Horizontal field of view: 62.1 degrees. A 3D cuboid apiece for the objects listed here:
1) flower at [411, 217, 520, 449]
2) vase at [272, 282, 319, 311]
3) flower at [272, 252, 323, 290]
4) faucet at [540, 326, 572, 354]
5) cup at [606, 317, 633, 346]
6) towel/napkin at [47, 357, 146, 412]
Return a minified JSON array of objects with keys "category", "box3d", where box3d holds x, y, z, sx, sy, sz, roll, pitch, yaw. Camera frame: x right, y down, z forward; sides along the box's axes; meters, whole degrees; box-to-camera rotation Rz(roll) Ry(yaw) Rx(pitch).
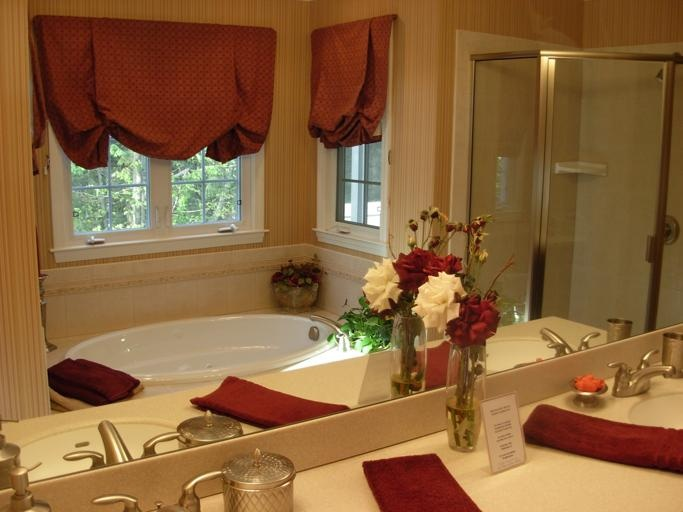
[{"category":"flower","box3d":[0.324,0.239,1.551,0.299,0.582,0.254,-8,-14,30]},{"category":"vase","box3d":[-0.101,0.082,1.252,0.070,0.041,0.063,6,6,40]},{"category":"flower","box3d":[-0.077,0.031,1.214,0.085,0.077,0.033,2,-2,-25]},{"category":"faucet","box3d":[0.754,0.302,1.999,0.041,0.073,0.135,-15,-27,38]},{"category":"cup","box3d":[1.067,0.281,2.186,0.097,0.108,0.097,-1,9,0]},{"category":"towel/napkin","box3d":[-0.504,0.246,1.143,0.137,0.042,0.133,10,8,34]}]
